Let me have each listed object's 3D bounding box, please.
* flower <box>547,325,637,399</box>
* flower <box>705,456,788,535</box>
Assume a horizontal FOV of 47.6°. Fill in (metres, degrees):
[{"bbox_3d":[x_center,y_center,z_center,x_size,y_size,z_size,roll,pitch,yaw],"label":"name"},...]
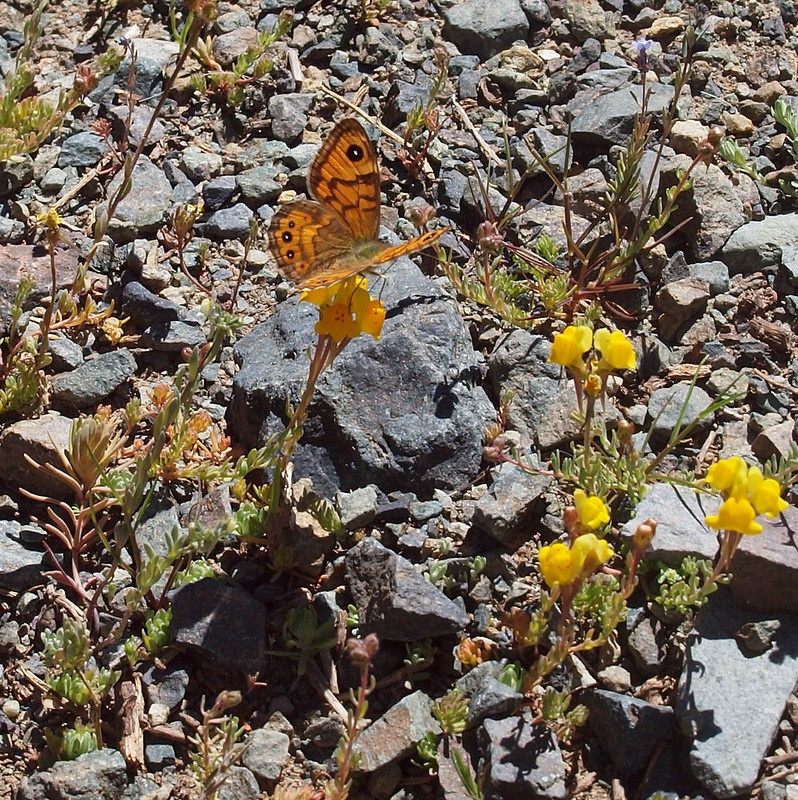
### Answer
[{"bbox_3d":[0.671,-0.180,3.407,0.314,0.160,0.338,-4,25,-21],"label":"flower"},{"bbox_3d":[1.274,0.354,3.289,0.208,0.204,0.235,38,14,-17],"label":"flower"}]
